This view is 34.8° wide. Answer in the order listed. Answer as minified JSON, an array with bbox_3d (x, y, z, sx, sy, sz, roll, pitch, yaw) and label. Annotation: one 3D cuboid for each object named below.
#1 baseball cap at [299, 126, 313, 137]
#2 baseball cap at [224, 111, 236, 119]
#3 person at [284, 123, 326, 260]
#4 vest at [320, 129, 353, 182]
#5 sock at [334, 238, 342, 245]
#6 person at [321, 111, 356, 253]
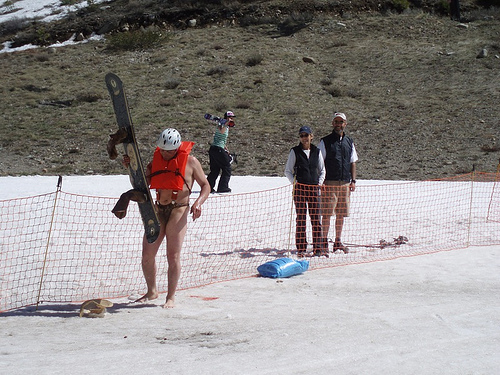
[{"bbox_3d":[1.242,-1.249,17.407,0.277,0.202,0.438,-1,10,4],"label":"baseball cap"},{"bbox_3d":[-0.533,-2.004,21.538,0.260,0.188,0.399,3,-6,-28],"label":"baseball cap"},{"bbox_3d":[1.258,0.102,17.394,0.851,2.863,0.555,-1,11,4],"label":"person"},{"bbox_3d":[1.950,-0.700,17.555,0.721,1.137,0.425,-2,11,-1],"label":"vest"},{"bbox_3d":[1.990,1.201,17.845,0.187,0.162,0.043,4,-1,7],"label":"sock"},{"bbox_3d":[1.982,-0.090,17.564,0.918,3.065,0.580,-5,11,-17],"label":"person"}]
